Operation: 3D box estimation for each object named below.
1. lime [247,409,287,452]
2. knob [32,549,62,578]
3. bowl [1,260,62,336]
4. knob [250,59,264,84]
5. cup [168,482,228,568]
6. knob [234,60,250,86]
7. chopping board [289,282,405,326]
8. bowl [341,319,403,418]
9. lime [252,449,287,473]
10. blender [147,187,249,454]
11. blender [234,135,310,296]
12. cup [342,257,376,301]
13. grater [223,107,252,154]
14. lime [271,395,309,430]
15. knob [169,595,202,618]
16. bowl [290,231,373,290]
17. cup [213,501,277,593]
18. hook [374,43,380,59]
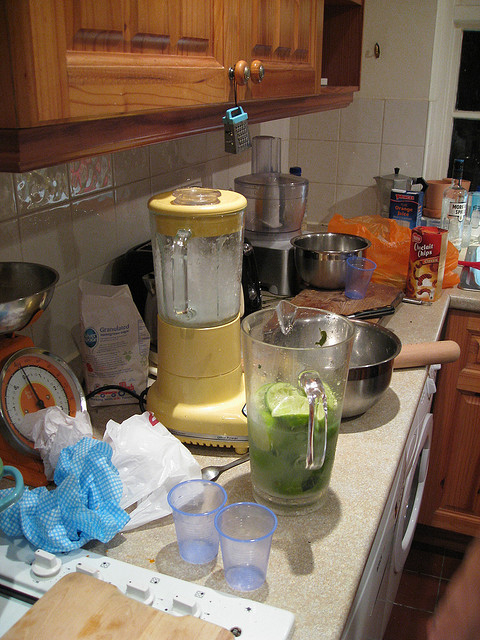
[{"bbox_3d":[0.037,0.144,0.592,0.044,0.054,0.053,0,26,10],"label":"lime"},{"bbox_3d":[-0.219,0.270,0.515,0.019,0.014,0.020,5,10,24],"label":"knob"},{"bbox_3d":[-0.311,-0.027,0.678,0.098,0.040,0.109,0,35,2],"label":"bowl"},{"bbox_3d":[0.030,-0.455,0.839,0.019,0.033,0.047,4,26,9],"label":"knob"},{"bbox_3d":[-0.052,0.238,0.589,0.072,0.087,0.076,0,14,0],"label":"cup"},{"bbox_3d":[0.005,-0.438,0.811,0.023,0.041,0.079,2,26,4],"label":"knob"},{"bbox_3d":[0.324,-0.074,1.393,0.302,0.048,0.322,16,31,27],"label":"chopping board"},{"bbox_3d":[0.259,0.086,0.931,0.164,0.132,0.197,0,15,-3],"label":"bowl"},{"bbox_3d":[0.038,0.189,0.611,0.027,0.034,0.031,-3,6,9],"label":"lime"},{"bbox_3d":[-0.080,0.012,0.778,0.179,0.402,0.168,-2,23,-4],"label":"blender"},{"bbox_3d":[0.121,-0.385,1.685,0.309,0.551,0.327,-13,19,-33],"label":"blender"},{"bbox_3d":[0.359,-0.123,1.388,0.083,0.113,0.118,6,26,12],"label":"cup"},{"bbox_3d":[-0.005,-0.344,0.831,0.047,0.079,0.142,0,26,0],"label":"grater"},{"bbox_3d":[0.062,0.113,0.575,0.045,0.031,0.031,4,25,7],"label":"lime"},{"bbox_3d":[-0.055,0.281,0.449,0.018,0.006,0.020,8,31,15],"label":"knob"},{"bbox_3d":[0.290,-0.183,1.513,0.239,0.168,0.265,2,21,7],"label":"bowl"},{"bbox_3d":[0.005,0.243,0.528,0.066,0.074,0.076,-3,15,-7],"label":"cup"},{"bbox_3d":[0.718,-1.409,2.400,0.025,0.068,0.021,-8,24,-18],"label":"hook"}]
